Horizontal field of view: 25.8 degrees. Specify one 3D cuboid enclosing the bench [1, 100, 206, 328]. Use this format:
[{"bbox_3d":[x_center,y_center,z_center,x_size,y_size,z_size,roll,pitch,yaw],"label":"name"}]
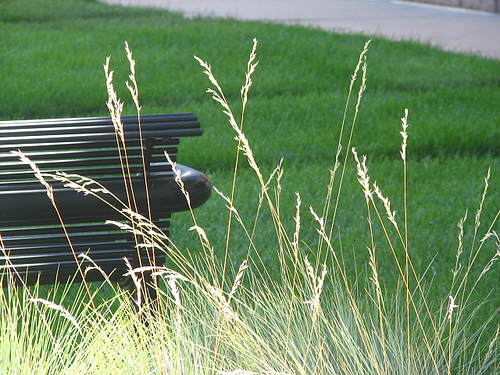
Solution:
[{"bbox_3d":[-0.650,0.052,4.827,0.911,1.005,1.488,0,18,-3],"label":"bench"}]
